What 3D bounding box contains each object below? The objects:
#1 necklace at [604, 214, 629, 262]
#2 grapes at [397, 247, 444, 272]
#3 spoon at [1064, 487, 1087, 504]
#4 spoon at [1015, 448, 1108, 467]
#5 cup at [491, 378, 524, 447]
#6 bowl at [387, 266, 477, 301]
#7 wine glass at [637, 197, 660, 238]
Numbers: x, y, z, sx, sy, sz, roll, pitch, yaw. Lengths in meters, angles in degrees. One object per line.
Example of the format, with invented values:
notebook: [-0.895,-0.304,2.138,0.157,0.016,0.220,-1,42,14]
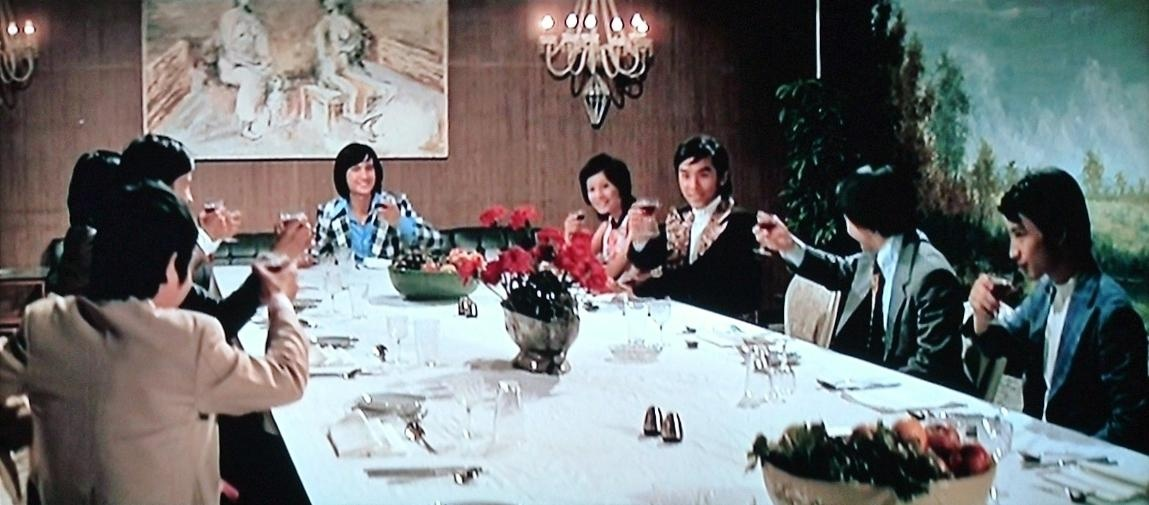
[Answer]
necklace: [0.360,-0.129,7.113,0.103,0.364,0.246,23,-12,-32]
grapes: [-1.148,0.055,6.195,0.353,0.093,0.347,-2,1,2]
spoon: [2.643,1.278,4.320,0.101,0.072,0.047,0,5,-13]
spoon: [2.640,1.098,4.482,0.542,0.101,0.144,1,0,-4]
cup: [-0.372,0.893,4.608,0.167,0.321,0.293,1,5,-4]
bowl: [-1.111,0.174,6.173,0.561,0.156,0.566,5,13,-1]
wine glass: [0.582,-0.307,6.875,0.304,0.315,0.147,-3,4,-38]
